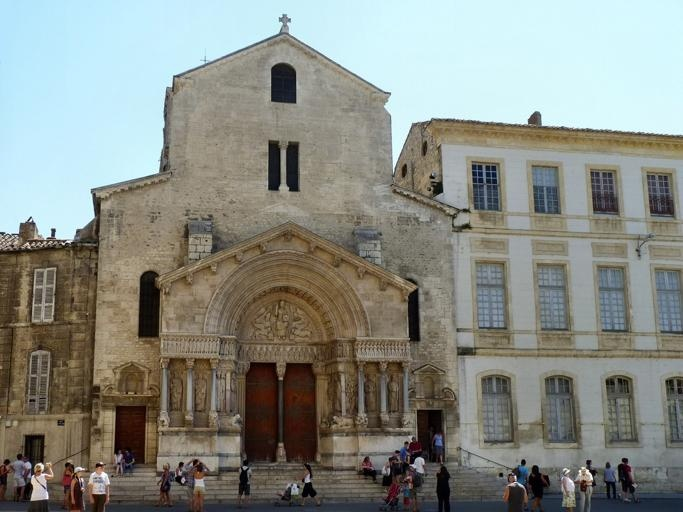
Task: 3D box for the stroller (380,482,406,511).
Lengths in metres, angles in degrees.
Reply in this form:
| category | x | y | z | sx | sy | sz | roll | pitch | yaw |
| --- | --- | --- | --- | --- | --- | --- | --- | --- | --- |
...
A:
| category | x | y | z | sx | sy | sz | roll | pitch | yaw |
| --- | --- | --- | --- | --- | --- | --- | --- | --- | --- |
| stroller | 1.977 | 9.152 | 33.909 | 0.749 | 1.156 | 0.973 | -10 | -26 | 28 |

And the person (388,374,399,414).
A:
| category | x | y | z | sx | sy | sz | roll | pitch | yaw |
| --- | --- | --- | --- | --- | --- | --- | --- | --- | --- |
| person | 2.261 | 5.987 | 38.881 | 0.509 | 1.598 | 0.133 | 2 | -14 | -16 |

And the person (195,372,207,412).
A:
| category | x | y | z | sx | sy | sz | roll | pitch | yaw |
| --- | --- | --- | --- | --- | --- | --- | --- | --- | --- |
| person | -5.865 | 5.695 | 37.359 | 0.469 | 1.590 | 0.171 | 0 | -13 | -9 |

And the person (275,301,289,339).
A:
| category | x | y | z | sx | sy | sz | roll | pitch | yaw |
| --- | --- | --- | --- | --- | --- | --- | --- | --- | --- |
| person | -2.656 | 2.876 | 40.064 | 0.606 | 1.720 | 0.404 | -1 | -13 | -6 |

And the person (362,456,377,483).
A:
| category | x | y | z | sx | sy | sz | roll | pitch | yaw |
| --- | --- | --- | --- | --- | --- | --- | --- | --- | --- |
| person | 1.142 | 8.890 | 37.013 | 0.508 | 0.954 | 0.545 | 10 | -43 | -18 |

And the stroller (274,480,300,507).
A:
| category | x | y | z | sx | sy | sz | roll | pitch | yaw |
| --- | --- | --- | --- | --- | --- | --- | --- | --- | --- |
| stroller | -2.088 | 9.138 | 34.415 | 0.927 | 0.864 | 0.752 | -2 | -17 | -4 |

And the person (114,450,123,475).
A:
| category | x | y | z | sx | sy | sz | roll | pitch | yaw |
| --- | --- | --- | --- | --- | --- | --- | --- | --- | --- |
| person | -9.172 | 8.533 | 36.831 | 0.367 | 1.015 | 1.182 | 2 | -14 | -15 |

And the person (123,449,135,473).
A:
| category | x | y | z | sx | sy | sz | roll | pitch | yaw |
| --- | --- | --- | --- | --- | --- | --- | --- | --- | --- |
| person | -8.812 | 8.479 | 37.145 | 0.447 | 1.005 | 1.221 | 1 | -14 | -13 |

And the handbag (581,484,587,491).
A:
| category | x | y | z | sx | sy | sz | roll | pitch | yaw |
| --- | --- | --- | --- | --- | --- | --- | --- | --- | --- |
| handbag | 8.894 | 8.473 | 32.755 | 0.214 | 0.312 | 0.166 | -1 | -13 | -4 |
